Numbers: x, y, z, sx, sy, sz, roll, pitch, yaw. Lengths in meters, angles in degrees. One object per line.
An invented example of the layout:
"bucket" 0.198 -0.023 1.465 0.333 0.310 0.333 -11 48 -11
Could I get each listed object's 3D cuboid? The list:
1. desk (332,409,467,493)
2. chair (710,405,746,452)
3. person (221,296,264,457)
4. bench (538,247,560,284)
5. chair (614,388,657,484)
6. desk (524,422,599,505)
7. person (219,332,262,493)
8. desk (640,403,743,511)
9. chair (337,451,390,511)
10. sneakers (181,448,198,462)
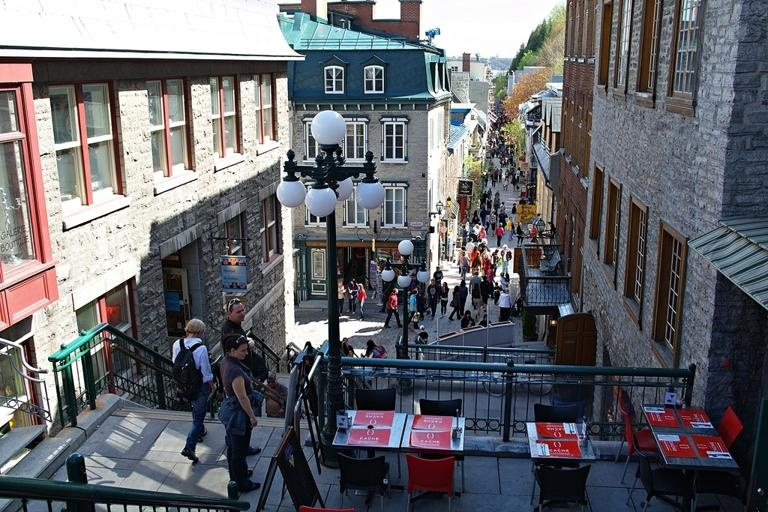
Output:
"desk" 0.251 3.143 9.459 1.607 0.408 0.931 2 44 8
"chair" 5.171 2.577 8.909 0.325 0.572 0.329 -20 52 9
"person" -2.437 1.884 10.708 0.758 2.352 0.711 4 23 10
"bench" 7.556 0.655 26.811 0.400 1.399 0.486 -7 -16 4
"chair" 4.185 2.978 9.825 0.858 1.353 0.763 -4 24 11
"desk" 2.769 3.034 9.423 1.076 1.094 1.151 1 37 6
"person" -2.207 2.303 8.951 0.512 2.346 1.022 -6 12 -14
"desk" 4.537 3.110 8.824 1.082 1.239 1.255 -1 13 8
"chair" -0.313 3.317 8.699 0.617 1.110 0.771 0 28 6
"sneakers" -3.141 3.181 9.560 0.070 0.214 0.092 -37 14 20
